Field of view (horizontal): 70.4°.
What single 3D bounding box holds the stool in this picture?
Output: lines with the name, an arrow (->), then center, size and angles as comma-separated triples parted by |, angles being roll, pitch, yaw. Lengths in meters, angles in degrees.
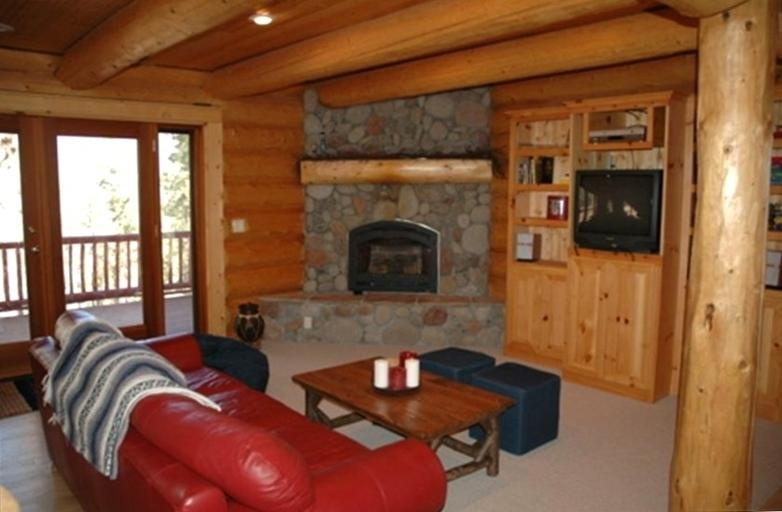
stool -> 0.868, 0.904, 4.466 | 0.687, 0.595, 1.283 | -12, 17, -34

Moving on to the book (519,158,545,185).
book -> 1.536, -0.933, 6.019 | 0.287, 0.256, 0.158 | 12, 19, 36

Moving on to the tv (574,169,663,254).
tv -> 2.158, -0.431, 5.177 | 0.810, 0.683, 0.444 | 6, 10, 37
